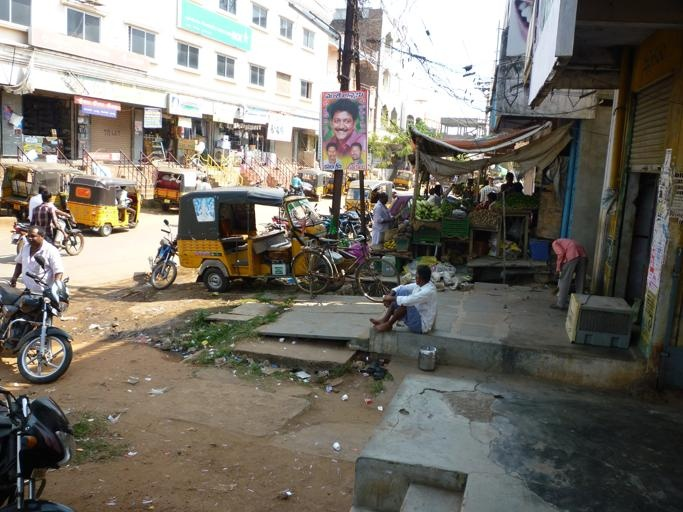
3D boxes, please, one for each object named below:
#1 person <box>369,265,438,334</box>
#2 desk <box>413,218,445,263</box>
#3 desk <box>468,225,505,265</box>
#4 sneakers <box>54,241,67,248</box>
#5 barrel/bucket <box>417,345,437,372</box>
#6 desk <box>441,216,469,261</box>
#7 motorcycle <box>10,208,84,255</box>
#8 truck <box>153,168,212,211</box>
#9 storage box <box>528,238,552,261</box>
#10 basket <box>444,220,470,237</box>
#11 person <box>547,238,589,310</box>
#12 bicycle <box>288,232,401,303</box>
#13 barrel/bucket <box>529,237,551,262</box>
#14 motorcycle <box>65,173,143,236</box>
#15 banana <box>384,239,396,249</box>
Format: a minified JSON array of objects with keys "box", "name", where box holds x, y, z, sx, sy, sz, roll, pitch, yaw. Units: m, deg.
[{"box":[0.971,0.664,8.641,1.074,1.057,0.742,3,8,-2],"name":"person"},{"box":[2.077,-0.421,13.187,0.740,0.961,0.529,2,7,8],"name":"desk"},{"box":[3.455,-0.320,13.244,0.738,1.024,0.750,-7,-25,45],"name":"desk"},{"box":[-7.708,-0.313,14.811,0.265,0.126,0.349,-3,3,0],"name":"sneakers"},{"box":[1.295,1.541,8.223,0.281,0.323,0.311,2,7,9],"name":"barrel/bucket"},{"box":[2.653,-0.448,13.084,0.639,0.885,0.782,3,0,2],"name":"desk"},{"box":[-8.284,-0.734,15.259,1.960,1.205,1.022,-1,-5,-2],"name":"motorcycle"},{"box":[-7.406,-3.008,24.755,1.623,1.545,2.770,9,9,11],"name":"truck"},{"box":[4.641,-0.163,12.698,0.496,0.456,0.487,3,2,3],"name":"storage box"},{"box":[2.686,-0.687,12.922,0.473,0.282,0.463,0,6,0],"name":"basket"},{"box":[4.102,0.326,9.849,0.581,1.244,0.531,5,8,32],"name":"person"},{"box":[0.020,0.221,11.711,2.454,1.404,1.034,5,10,16],"name":"bicycle"},{"box":[4.635,-0.160,12.684,0.551,0.516,0.486,2,2,8],"name":"barrel/bucket"},{"box":[-8.249,-1.837,18.978,1.933,1.687,2.698,9,10,11],"name":"motorcycle"},{"box":[1.151,-0.288,13.263,0.192,0.142,0.238,1,0,-12],"name":"banana"}]
